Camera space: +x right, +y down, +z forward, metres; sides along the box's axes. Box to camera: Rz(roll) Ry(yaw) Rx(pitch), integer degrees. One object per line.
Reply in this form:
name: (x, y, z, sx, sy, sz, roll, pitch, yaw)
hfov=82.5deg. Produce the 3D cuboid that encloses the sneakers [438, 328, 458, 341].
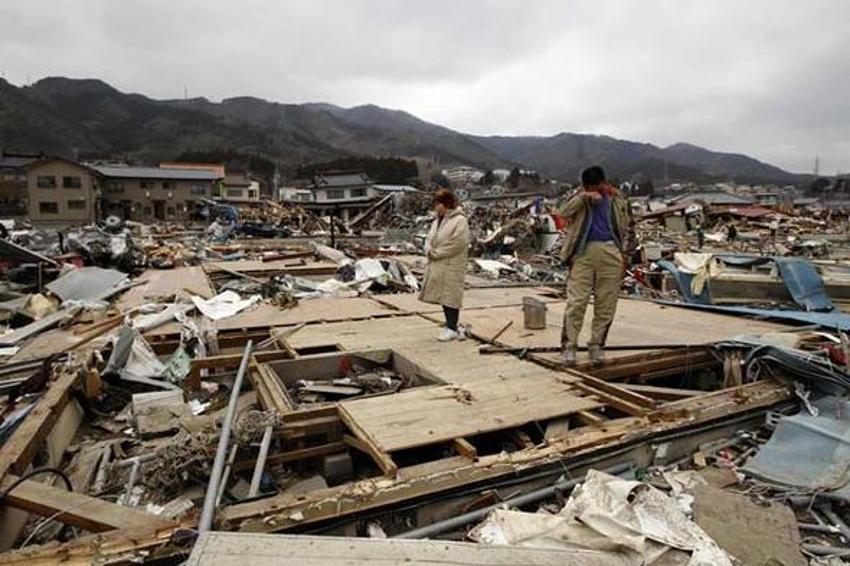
sneakers: (0.210, 0.480, 4.413, 0.081, 0.069, 0.203, -7, -6, 43)

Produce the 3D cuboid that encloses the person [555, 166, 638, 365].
person: (1.352, -0.120, 3.859, 0.586, 1.494, 0.620, 3, 17, 12)

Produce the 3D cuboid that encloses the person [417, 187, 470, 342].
person: (0.172, -0.146, 4.417, 0.428, 1.311, 0.559, 1, 17, 3)

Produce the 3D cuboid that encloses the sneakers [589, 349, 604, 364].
sneakers: (1.387, 0.593, 3.885, 0.121, 0.103, 0.113, 2, 15, 9)
